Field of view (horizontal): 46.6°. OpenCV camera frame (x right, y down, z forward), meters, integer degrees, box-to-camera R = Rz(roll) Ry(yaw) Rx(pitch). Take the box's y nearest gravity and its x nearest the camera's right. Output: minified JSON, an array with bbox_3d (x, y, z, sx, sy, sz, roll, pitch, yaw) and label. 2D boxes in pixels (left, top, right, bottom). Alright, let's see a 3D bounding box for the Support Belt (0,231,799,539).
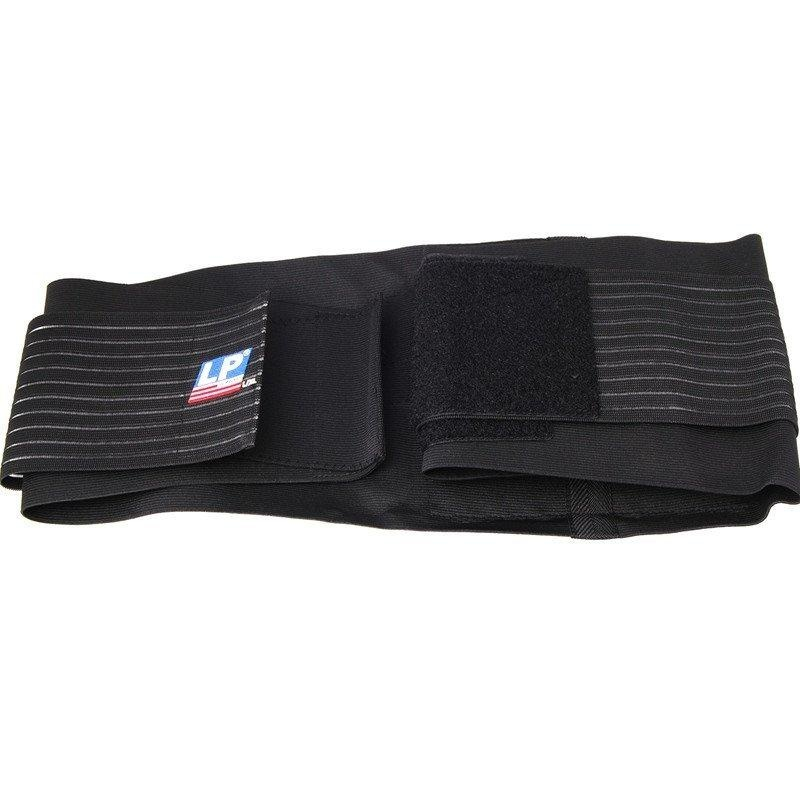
[{"bbox_3d":[0.123,-0.008,3.307,3.058,0.993,0.538,-1,-20,2],"label":"Support Belt"}]
